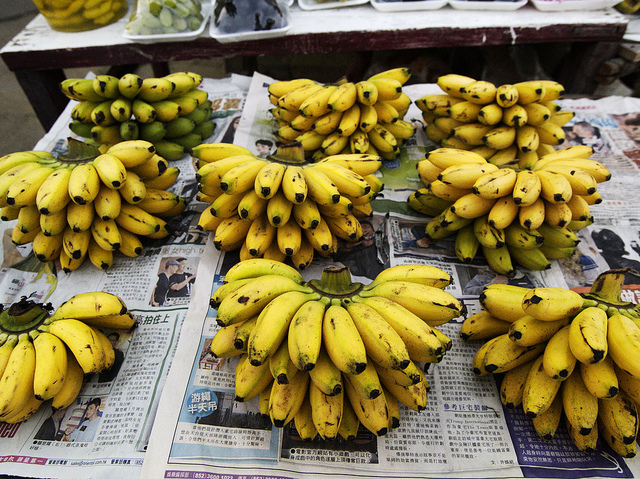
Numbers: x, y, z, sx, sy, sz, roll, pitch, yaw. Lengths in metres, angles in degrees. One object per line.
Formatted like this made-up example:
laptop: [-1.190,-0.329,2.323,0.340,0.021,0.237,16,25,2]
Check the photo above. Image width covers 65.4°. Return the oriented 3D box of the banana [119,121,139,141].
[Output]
banana: [-0.681,-0.387,1.776,0.071,0.041,0.056,-25,60,11]

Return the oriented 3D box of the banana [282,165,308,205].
banana: [-0.079,-0.161,1.533,0.041,0.039,0.117,-11,35,-6]

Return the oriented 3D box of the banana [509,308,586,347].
banana: [0.628,0.239,1.351,0.210,0.052,0.071,-15,81,-4]

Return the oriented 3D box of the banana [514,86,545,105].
banana: [0.718,-0.493,1.703,0.092,0.040,0.045,-2,42,17]

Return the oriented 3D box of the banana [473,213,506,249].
banana: [0.546,-0.019,1.615,0.067,0.046,0.135,-24,34,5]

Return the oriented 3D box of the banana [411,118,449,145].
banana: [0.449,-0.432,2.004,0.051,0.035,0.131,-38,41,-6]

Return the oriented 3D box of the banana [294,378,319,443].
banana: [-0.037,0.474,1.399,0.053,0.058,0.171,-9,75,34]

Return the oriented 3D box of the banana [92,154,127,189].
banana: [-0.669,-0.217,1.588,0.070,0.076,0.133,-24,52,-23]

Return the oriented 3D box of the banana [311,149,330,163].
banana: [0.005,-0.312,1.889,0.072,0.024,0.036,-23,79,23]

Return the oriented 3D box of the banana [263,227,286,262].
banana: [-0.147,0.036,1.634,0.040,0.050,0.150,10,90,-2]

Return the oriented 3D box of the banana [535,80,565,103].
banana: [0.819,-0.522,1.742,0.105,0.048,0.051,-2,17,2]

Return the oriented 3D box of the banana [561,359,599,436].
banana: [0.698,0.434,1.339,0.070,0.068,0.231,5,70,-1]

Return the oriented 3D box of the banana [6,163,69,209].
banana: [-0.918,-0.191,1.650,0.059,0.085,0.223,6,46,40]

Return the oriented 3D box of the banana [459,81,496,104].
banana: [0.556,-0.510,1.754,0.120,0.061,0.067,-1,81,-9]

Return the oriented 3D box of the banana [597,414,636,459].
banana: [0.806,0.529,1.344,0.047,0.038,0.142,-32,89,-7]

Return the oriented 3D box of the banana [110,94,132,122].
banana: [-0.703,-0.471,1.757,0.053,0.109,0.038,-14,96,9]

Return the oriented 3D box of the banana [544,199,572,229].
banana: [0.766,-0.087,1.600,0.054,0.044,0.117,-12,29,11]

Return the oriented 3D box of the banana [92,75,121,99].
banana: [-0.745,-0.540,1.741,0.053,0.107,0.060,16,80,-9]

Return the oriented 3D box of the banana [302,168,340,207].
banana: [-0.003,-0.178,1.588,0.054,0.059,0.178,-38,45,-11]

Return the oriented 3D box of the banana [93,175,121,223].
banana: [-0.696,-0.132,1.606,0.067,0.046,0.137,-5,60,-12]

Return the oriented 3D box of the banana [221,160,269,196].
banana: [-0.241,-0.207,1.613,0.073,0.088,0.237,9,27,23]

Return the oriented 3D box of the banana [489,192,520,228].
banana: [0.581,-0.087,1.570,0.064,0.050,0.141,27,67,30]

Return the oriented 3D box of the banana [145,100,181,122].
banana: [-0.571,-0.477,1.848,0.172,0.058,0.047,-2,71,22]

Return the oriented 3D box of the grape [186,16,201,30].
grape: [-0.574,-0.991,2.273,0.071,0.049,0.041,-30,57,-23]

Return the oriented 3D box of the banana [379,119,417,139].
banana: [0.319,-0.428,1.942,0.198,0.065,0.053,3,65,-17]

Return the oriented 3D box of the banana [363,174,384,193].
banana: [0.199,-0.191,1.739,0.031,0.116,0.041,23,89,51]

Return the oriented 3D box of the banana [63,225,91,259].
banana: [-0.819,0.002,1.686,0.059,0.046,0.127,3,51,-5]

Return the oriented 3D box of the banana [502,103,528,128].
banana: [0.671,-0.425,1.712,0.051,0.057,0.107,0,10,3]

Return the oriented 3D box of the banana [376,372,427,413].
banana: [0.236,0.414,1.369,0.147,0.085,0.049,20,94,24]

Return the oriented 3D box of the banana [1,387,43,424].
banana: [-0.844,0.464,1.401,0.108,0.034,0.069,-46,25,-19]

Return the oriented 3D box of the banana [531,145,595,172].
banana: [0.820,-0.272,1.687,0.183,0.044,0.053,-26,51,-18]

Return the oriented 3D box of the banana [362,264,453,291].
banana: [0.260,0.116,1.479,0.220,0.079,0.059,-2,87,-11]

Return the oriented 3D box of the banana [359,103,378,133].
banana: [0.176,-0.443,1.814,0.039,0.050,0.146,2,44,5]

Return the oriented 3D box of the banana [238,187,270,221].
banana: [-0.205,-0.111,1.556,0.059,0.047,0.130,15,34,13]

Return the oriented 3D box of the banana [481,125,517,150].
banana: [0.637,-0.359,1.772,0.123,0.083,0.083,4,51,2]

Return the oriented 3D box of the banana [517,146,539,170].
banana: [0.737,-0.282,1.767,0.060,0.038,0.116,12,31,18]

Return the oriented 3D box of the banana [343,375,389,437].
banana: [0.148,0.438,1.344,0.064,0.219,0.073,-15,29,10]

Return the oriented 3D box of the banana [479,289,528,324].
banana: [0.530,0.190,1.443,0.138,0.071,0.049,16,11,12]

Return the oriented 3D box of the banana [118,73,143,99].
banana: [-0.670,-0.540,1.751,0.065,0.085,0.049,13,30,-16]

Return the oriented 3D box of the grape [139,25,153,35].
grape: [-0.792,-0.947,2.255,0.036,0.037,0.020,5,24,-1]

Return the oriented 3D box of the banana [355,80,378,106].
banana: [0.164,-0.510,1.751,0.051,0.059,0.104,-13,18,0]

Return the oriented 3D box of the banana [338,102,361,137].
banana: [0.111,-0.430,1.804,0.047,0.052,0.161,16,54,9]

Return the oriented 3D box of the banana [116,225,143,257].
banana: [-0.651,0.016,1.710,0.043,0.048,0.147,-36,75,-32]

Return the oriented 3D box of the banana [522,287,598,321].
banana: [0.617,0.186,1.369,0.244,0.077,0.085,3,91,-11]

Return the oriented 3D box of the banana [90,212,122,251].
banana: [-0.728,-0.018,1.692,0.097,0.211,0.073,-5,59,-24]

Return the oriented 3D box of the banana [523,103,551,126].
banana: [0.736,-0.428,1.718,0.106,0.061,0.051,12,8,33]

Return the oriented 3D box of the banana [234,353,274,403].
banana: [-0.186,0.375,1.393,0.084,0.046,0.140,35,90,-6]

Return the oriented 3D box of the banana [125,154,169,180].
banana: [-0.600,-0.249,1.753,0.134,0.068,0.064,-14,42,10]

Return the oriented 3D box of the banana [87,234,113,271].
banana: [-0.757,0.058,1.725,0.083,0.057,0.163,-16,31,-23]

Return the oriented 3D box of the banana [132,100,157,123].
banana: [-0.646,-0.463,1.825,0.089,0.065,0.057,27,56,19]

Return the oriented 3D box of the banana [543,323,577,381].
banana: [0.645,0.307,1.333,0.049,0.054,0.152,10,29,18]

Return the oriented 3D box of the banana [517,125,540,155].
banana: [0.723,-0.348,1.730,0.054,0.038,0.112,-5,40,17]

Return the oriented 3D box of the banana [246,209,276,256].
banana: [-0.189,-0.014,1.640,0.074,0.056,0.157,24,71,4]
